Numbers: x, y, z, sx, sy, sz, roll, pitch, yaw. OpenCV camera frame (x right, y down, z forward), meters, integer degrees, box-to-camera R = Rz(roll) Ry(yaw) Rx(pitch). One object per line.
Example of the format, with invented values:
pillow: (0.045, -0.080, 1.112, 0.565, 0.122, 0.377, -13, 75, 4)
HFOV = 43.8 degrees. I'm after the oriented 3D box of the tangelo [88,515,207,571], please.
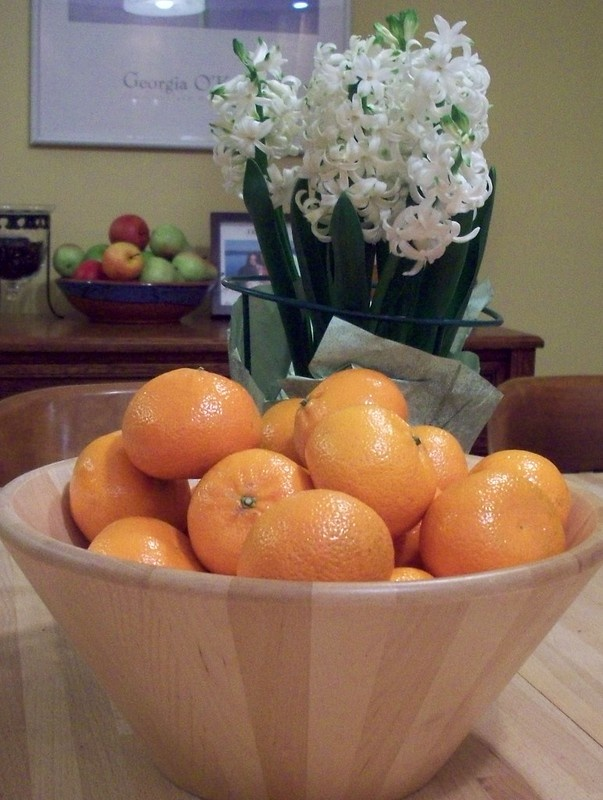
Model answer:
tangelo: (-0.067, 0.063, 0.330, 0.036, 0.018, 0.034, 12, 17, 37)
